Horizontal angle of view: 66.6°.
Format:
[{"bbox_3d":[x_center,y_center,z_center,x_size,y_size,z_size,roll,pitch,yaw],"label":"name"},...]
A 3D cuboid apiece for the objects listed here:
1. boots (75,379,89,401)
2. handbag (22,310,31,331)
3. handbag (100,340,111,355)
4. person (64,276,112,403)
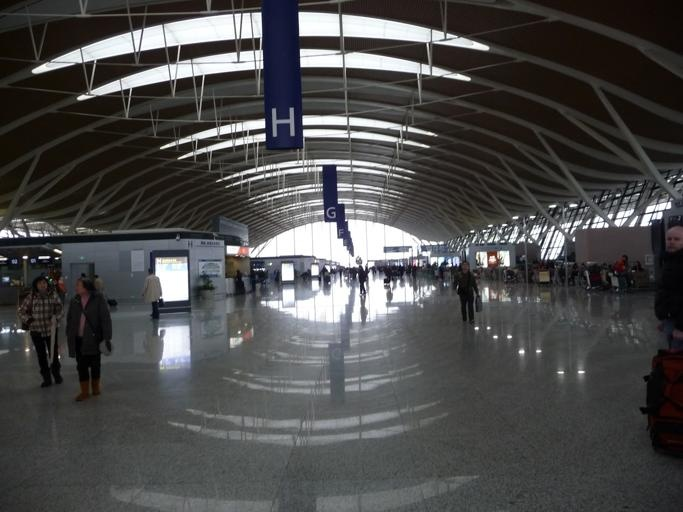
[{"bbox_3d":[-4.554,2.348,9.151,0.166,0.367,0.351,-1,-8,5],"label":"boots"},{"bbox_3d":[-6.072,1.252,10.093,0.206,0.325,0.104,7,-1,22],"label":"handbag"},{"bbox_3d":[-4.136,1.608,9.204,0.165,0.217,0.228,-4,-4,-11],"label":"handbag"},{"bbox_3d":[-4.487,1.422,9.261,0.652,2.318,0.814,-3,1,-38],"label":"person"}]
